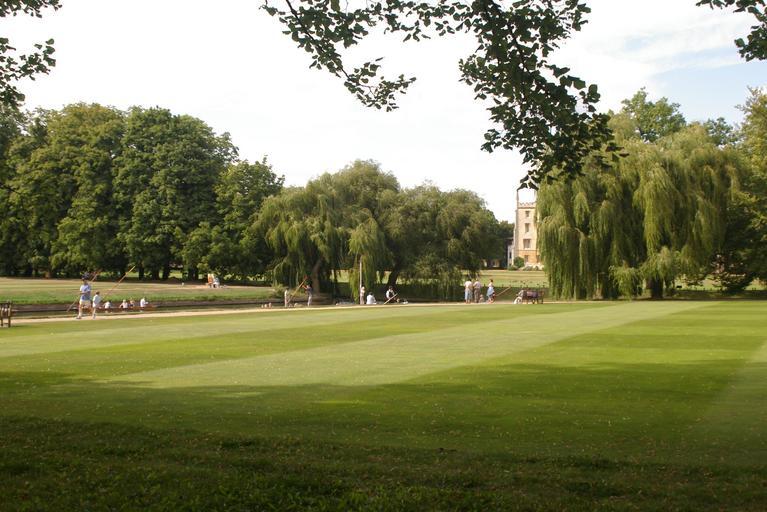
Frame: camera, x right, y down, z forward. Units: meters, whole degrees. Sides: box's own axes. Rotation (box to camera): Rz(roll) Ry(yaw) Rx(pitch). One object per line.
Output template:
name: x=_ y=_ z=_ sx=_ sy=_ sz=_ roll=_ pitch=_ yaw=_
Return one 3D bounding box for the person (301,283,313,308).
person: x=-5.304 y=2.789 z=56.212 sx=0.847 sy=2.434 sz=0.681 roll=-3 pitch=-21 yaw=3

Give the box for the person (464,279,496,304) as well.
person: x=7.268 y=2.739 z=61.787 sx=1.705 sy=1.418 sz=0.756 roll=1 pitch=6 yaw=11

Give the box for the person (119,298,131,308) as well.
person: x=-15.075 y=2.766 z=47.488 sx=0.283 sy=0.850 sz=0.337 roll=4 pitch=2 yaw=8

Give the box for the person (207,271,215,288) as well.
person: x=-13.686 y=1.947 z=64.982 sx=0.519 sy=0.995 sz=1.214 roll=-1 pitch=3 yaw=-15

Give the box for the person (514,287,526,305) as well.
person: x=9.685 y=2.866 z=57.846 sx=1.052 sy=0.983 sz=1.034 roll=0 pitch=0 yaw=0
